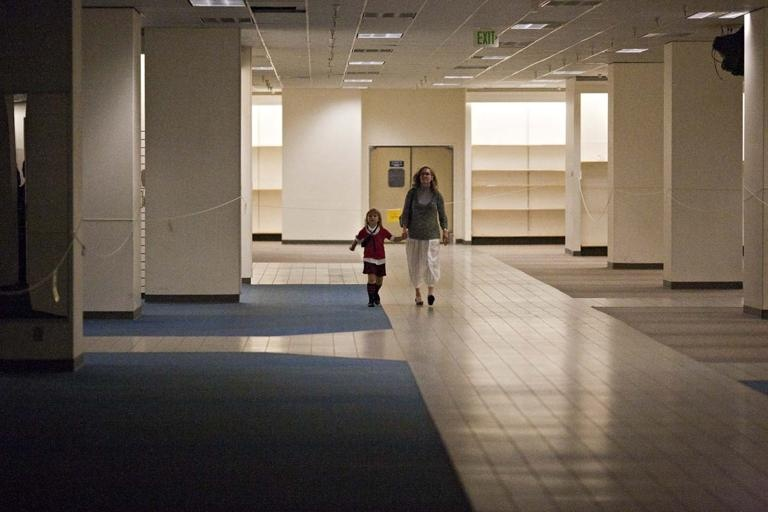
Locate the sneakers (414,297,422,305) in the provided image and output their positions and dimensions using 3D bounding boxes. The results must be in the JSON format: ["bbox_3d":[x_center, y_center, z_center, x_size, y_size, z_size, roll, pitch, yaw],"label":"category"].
[{"bbox_3d":[0.563,0.711,9.531,0.105,0.115,0.278,-1,-3,1],"label":"sneakers"}]

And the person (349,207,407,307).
[{"bbox_3d":[-0.131,-0.028,9.794,0.768,1.551,1.276,-1,8,0],"label":"person"}]

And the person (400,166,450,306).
[{"bbox_3d":[0.646,-0.328,9.478,0.732,2.198,0.977,0,7,5],"label":"person"}]
